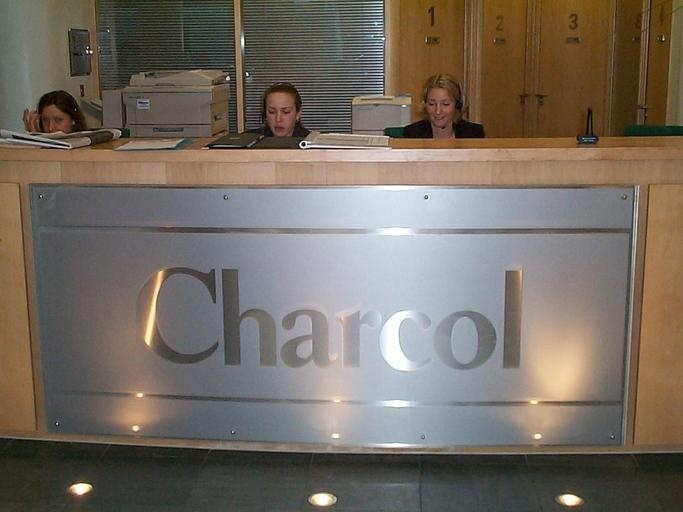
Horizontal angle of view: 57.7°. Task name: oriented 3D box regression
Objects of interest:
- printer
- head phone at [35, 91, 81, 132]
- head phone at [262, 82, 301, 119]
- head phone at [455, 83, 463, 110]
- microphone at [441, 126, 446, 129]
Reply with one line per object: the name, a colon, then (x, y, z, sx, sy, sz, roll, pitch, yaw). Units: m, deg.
printer: (-0.957, -0.886, 3.614, 0.468, 0.319, 0.507, 0, 17, 0)
head phone: (-1.688, -0.865, 3.725, 0.212, 0.283, 0.287, 10, 19, 34)
head phone: (-0.401, -0.999, 3.907, 0.212, 0.274, 0.268, 3, 13, 5)
head phone: (0.736, -0.984, 3.885, 0.049, 0.148, 0.131, -5, 45, 12)
microphone: (0.651, -0.805, 3.917, 0.020, 0.015, 0.020, 1, 12, 7)
